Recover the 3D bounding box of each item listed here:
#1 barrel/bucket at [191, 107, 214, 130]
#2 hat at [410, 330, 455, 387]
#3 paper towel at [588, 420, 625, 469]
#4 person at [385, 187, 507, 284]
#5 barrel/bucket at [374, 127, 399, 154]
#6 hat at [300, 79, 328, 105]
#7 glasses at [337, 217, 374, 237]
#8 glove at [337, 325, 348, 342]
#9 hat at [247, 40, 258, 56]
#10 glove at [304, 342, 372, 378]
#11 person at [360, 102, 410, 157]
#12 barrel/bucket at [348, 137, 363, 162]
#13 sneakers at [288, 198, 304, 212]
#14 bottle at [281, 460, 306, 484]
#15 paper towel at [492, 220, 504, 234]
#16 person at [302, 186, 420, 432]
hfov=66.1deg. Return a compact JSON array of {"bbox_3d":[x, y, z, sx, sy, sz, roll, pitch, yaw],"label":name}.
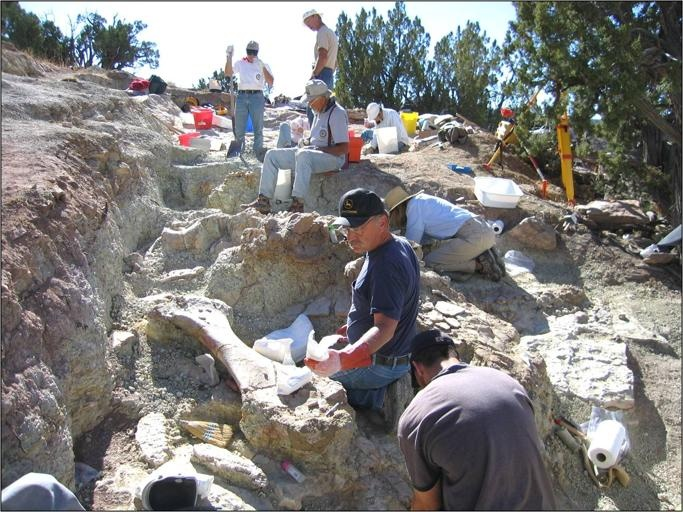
[{"bbox_3d":[-2.706,-2.629,10.322,0.427,0.481,0.556,-4,28,-10],"label":"barrel/bucket"},{"bbox_3d":[0.507,0.604,3.181,0.232,0.337,0.331,2,9,-1],"label":"hat"},{"bbox_3d":[2.207,1.581,4.435,0.218,0.233,0.343,-10,22,30],"label":"paper towel"},{"bbox_3d":[1.144,-0.286,6.189,1.372,0.930,0.925,7,17,21],"label":"person"},{"bbox_3d":[0.787,-1.967,9.244,0.360,0.569,0.512,-4,7,1],"label":"barrel/bucket"},{"bbox_3d":[-0.281,-1.933,6.198,0.316,0.279,0.377,1,15,-9],"label":"hat"},{"bbox_3d":[0.084,-0.208,3.533,0.201,0.122,0.164,8,2,-11],"label":"glasses"},{"bbox_3d":[0.004,0.597,4.011,0.077,0.037,0.108,38,26,-28],"label":"glove"},{"bbox_3d":[-1.280,-2.973,7.541,0.181,0.183,0.211,15,19,37],"label":"hat"},{"bbox_3d":[-0.018,0.677,3.409,0.311,0.097,0.114,-14,41,-13],"label":"glove"},{"bbox_3d":[0.788,-2.362,9.598,0.746,0.981,0.762,10,34,42],"label":"person"},{"bbox_3d":[0.200,-1.548,7.667,0.186,0.351,0.381,3,15,-1],"label":"barrel/bucket"},{"bbox_3d":[-0.527,-0.581,6.102,0.132,0.202,0.187,7,8,22],"label":"sneakers"},{"bbox_3d":[-0.333,1.510,3.678,0.085,0.045,0.177,-33,67,-31],"label":"bottle"},{"bbox_3d":[2.061,-0.370,6.904,0.105,0.154,0.200,2,11,15],"label":"paper towel"},{"bbox_3d":[0.119,0.468,3.949,0.638,1.881,1.533,4,13,12],"label":"person"}]
